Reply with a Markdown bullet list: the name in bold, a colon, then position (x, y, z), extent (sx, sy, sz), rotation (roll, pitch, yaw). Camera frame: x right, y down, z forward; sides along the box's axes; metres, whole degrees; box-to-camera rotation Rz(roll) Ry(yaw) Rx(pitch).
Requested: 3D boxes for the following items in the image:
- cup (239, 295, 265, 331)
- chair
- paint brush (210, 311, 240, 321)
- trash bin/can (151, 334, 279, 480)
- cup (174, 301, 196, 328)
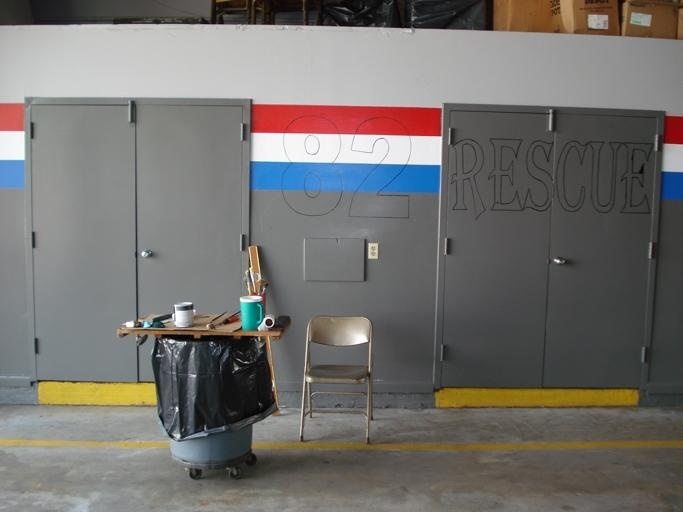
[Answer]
- **cup**: position (-0.767, 0.496, 5.794), extent (0.208, 0.268, 0.269), rotation (-4, 10, -37)
- **chair**: position (-0.059, 1.159, 6.508), extent (0.729, 1.113, 0.698), rotation (-1, 5, 2)
- **paint brush**: position (-1.035, 0.539, 6.022), extent (0.068, 0.056, 0.349), rotation (4, 9, 32)
- **trash bin/can**: position (-1.142, 1.298, 6.063), extent (1.025, 1.180, 1.094), rotation (-2, 1, -37)
- **cup**: position (-1.349, 0.507, 5.833), extent (0.178, 0.215, 0.189), rotation (2, 3, 0)
